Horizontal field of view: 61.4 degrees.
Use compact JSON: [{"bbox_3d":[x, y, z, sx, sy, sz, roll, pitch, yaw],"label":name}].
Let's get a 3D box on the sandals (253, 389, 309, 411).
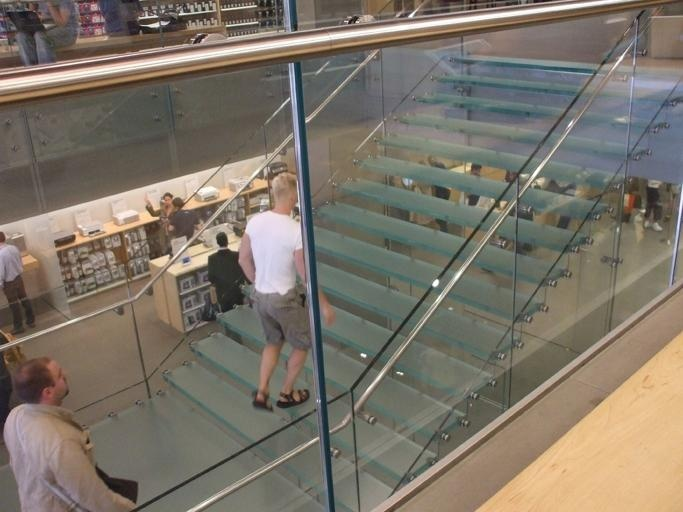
[{"bbox_3d":[-0.179,0.427,1.769,0.178,0.047,0.067,-10,25,-15],"label":"sandals"}]
